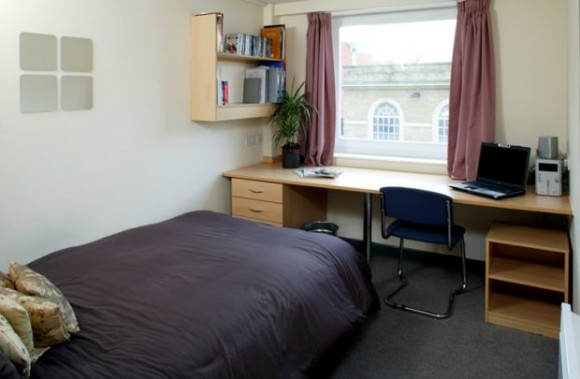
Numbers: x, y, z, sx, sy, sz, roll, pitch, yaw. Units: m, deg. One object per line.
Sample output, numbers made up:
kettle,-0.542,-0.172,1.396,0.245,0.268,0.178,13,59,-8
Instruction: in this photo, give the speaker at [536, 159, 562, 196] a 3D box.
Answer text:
speaker,2.210,-0.115,3.530,0.211,0.312,0.113,7,15,28

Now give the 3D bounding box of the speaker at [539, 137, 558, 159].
speaker,2.250,-0.372,3.583,0.162,0.179,0.260,6,14,23

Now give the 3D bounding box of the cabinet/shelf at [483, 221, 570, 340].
cabinet/shelf,1.973,0.716,3.451,0.601,0.744,0.576,9,16,33

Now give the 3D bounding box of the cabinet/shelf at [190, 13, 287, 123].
cabinet/shelf,-0.530,-1.213,4.161,0.356,0.924,1.141,5,12,24

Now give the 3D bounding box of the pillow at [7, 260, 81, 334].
pillow,-1.402,0.566,2.356,0.324,0.260,0.741,-2,13,-43

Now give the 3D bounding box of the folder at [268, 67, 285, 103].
folder,-0.146,-1.136,4.467,0.139,0.336,0.354,2,9,14

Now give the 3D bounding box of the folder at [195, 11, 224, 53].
folder,-0.783,-1.455,3.840,0.203,0.300,0.248,-10,15,-41

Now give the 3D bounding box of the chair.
chair,1.235,0.448,3.798,0.803,1.065,0.840,6,14,23

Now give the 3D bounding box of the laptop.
laptop,1.746,-0.182,3.613,0.387,0.417,0.508,-8,15,-31
